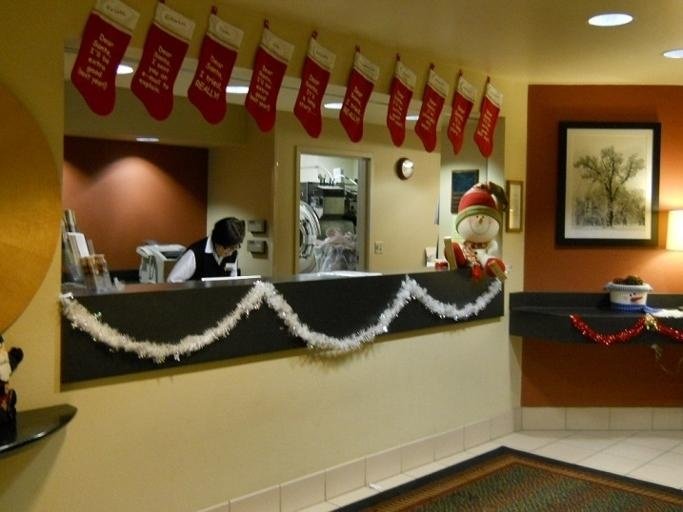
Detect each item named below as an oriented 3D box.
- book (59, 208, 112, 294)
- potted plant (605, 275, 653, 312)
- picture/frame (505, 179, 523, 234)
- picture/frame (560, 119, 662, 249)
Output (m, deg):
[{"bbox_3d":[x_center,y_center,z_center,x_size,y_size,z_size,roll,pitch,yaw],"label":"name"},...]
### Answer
[{"bbox_3d":[-1.250,-0.029,2.689,0.200,0.393,0.245,0,4,-4],"label":"book"},{"bbox_3d":[2.277,0.304,4.285,0.303,0.250,0.316,3,1,14],"label":"potted plant"},{"bbox_3d":[1.408,-0.396,4.351,0.205,0.419,0.022,-4,6,-42],"label":"picture/frame"},{"bbox_3d":[2.179,-0.627,4.394,0.861,1.220,0.058,0,0,-7],"label":"picture/frame"}]
